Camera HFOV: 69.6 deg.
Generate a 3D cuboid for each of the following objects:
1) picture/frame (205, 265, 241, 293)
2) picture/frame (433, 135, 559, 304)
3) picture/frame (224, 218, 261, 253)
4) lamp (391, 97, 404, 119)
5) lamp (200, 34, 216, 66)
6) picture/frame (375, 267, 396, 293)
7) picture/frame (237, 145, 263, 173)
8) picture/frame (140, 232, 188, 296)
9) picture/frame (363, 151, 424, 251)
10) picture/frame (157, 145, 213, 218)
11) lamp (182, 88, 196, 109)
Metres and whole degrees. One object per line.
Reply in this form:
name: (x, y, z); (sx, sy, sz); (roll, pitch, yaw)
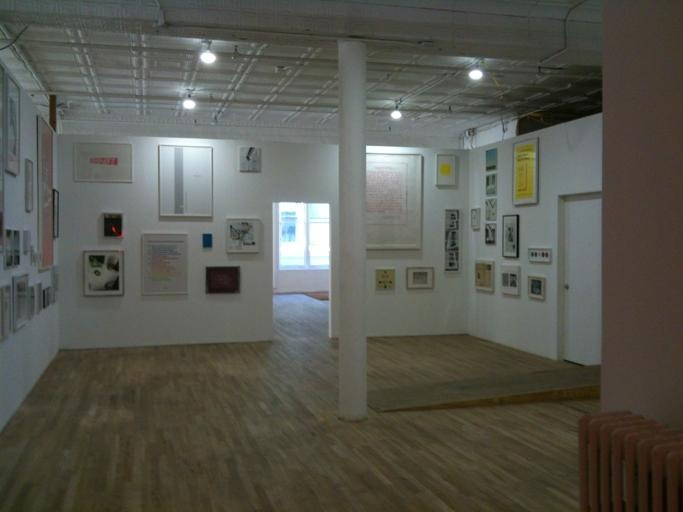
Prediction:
picture/frame: (-2.651, 0.525, 10.917); (0.591, 0.635, 0.516); (1, -3, -12)
picture/frame: (3.526, -0.743, 11.157); (0.068, 4.489, 3.779); (0, 1, -22)
picture/frame: (-2.264, -0.473, 10.986); (0.665, 0.748, 0.251); (1, 0, -18)
lamp: (1.310, -3.429, 11.509); (0.267, 0.521, 0.298); (-1, 8, -19)
lamp: (-2.192, -3.296, 7.927); (0.335, 0.403, 0.368); (2, 4, 11)
picture/frame: (1.074, 0.589, 11.879); (0.509, 0.555, 0.057); (0, 2, -13)
picture/frame: (-2.092, -2.175, 10.999); (0.551, 0.609, 0.198); (0, -2, -18)
picture/frame: (-3.905, 0.165, 10.638); (1.188, 1.867, 0.126); (0, 2, -13)
picture/frame: (1.179, -1.317, 11.551); (2.091, 3.178, 0.129); (0, 3, -3)
picture/frame: (-3.489, -1.654, 10.734); (1.386, 2.089, 0.110); (0, 3, -7)
lamp: (-3.387, -3.478, 10.892); (0.309, 0.403, 0.334); (-1, 5, -11)
